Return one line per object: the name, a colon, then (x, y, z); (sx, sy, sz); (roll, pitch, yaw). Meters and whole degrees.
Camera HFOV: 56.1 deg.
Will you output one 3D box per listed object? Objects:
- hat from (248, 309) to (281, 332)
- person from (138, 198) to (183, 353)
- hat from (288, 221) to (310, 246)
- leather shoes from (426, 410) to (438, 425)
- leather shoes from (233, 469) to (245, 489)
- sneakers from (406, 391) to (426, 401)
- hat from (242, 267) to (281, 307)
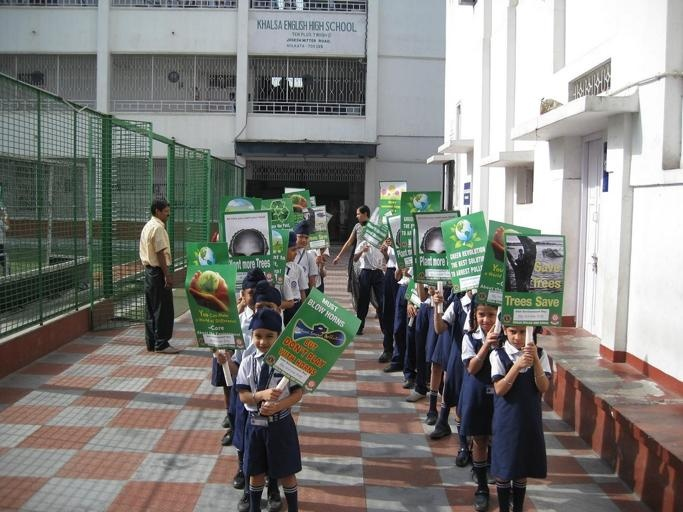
hat: (-0.676, 0.574, 5.716); (0.278, 0.212, 0.212); (-2, 11, -16)
person: (-2.895, 0.355, 10.107); (0.436, 2.409, 0.561); (-6, 11, -33)
hat: (-0.549, -0.310, 8.788); (0.201, 0.358, 0.168); (5, -1, -12)
leather shoes: (1.090, 1.982, 7.752); (0.120, 0.158, 0.360); (-1, -6, 13)
leather shoes: (-1.042, 2.298, 6.544); (0.115, 0.168, 0.385); (7, -13, -8)
sneakers: (0.962, 1.884, 8.479); (0.273, 0.133, 0.111); (-3, -2, -16)
hat: (-0.819, 0.303, 6.474); (0.303, 0.498, 0.410); (-7, 33, -11)
